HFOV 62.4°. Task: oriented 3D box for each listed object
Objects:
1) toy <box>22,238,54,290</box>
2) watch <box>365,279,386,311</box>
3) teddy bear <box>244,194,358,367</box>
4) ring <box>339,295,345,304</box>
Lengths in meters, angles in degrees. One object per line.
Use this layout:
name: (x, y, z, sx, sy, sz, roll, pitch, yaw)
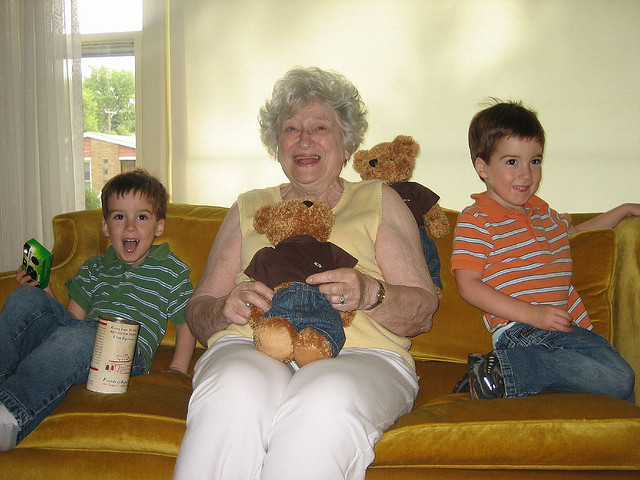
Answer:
toy: (-1.132, 0.099, 2.116, 0.135, 0.192, 0.066, 33, 35, 15)
watch: (0.169, 0.165, 1.712, 0.024, 0.084, 0.082, 23, -26, 16)
teddy bear: (-0.062, 0.081, 1.639, 0.375, 0.516, 0.187, 0, -27, -10)
ring: (0.068, 0.183, 1.653, 0.016, 0.022, 0.006, 4, 1, 3)
